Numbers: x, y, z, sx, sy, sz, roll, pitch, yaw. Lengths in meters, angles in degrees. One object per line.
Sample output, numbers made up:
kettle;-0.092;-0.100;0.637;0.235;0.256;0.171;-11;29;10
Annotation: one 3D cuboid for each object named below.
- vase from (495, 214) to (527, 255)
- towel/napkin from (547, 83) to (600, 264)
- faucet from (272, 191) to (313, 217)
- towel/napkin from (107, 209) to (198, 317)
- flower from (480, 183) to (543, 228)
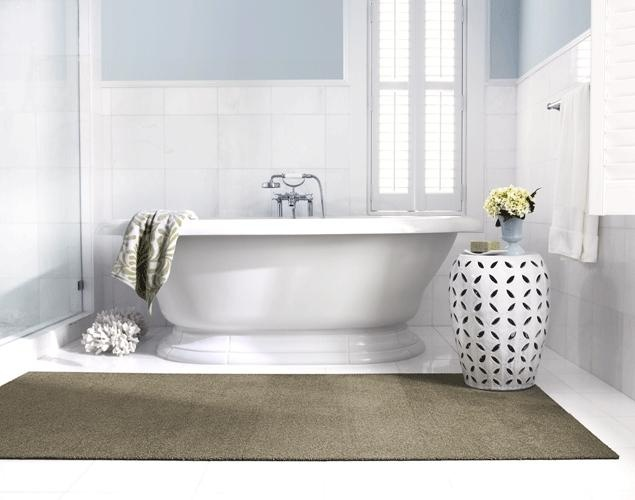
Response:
vase;0.910;-0.077;2.382;0.155;0.193;0.154;-1;1;-42
towel/napkin;1.211;-0.365;2.444;0.161;0.833;0.264;-4;9;-30
faucet;-0.155;-0.301;3.365;0.271;0.173;0.173;0;8;-4
towel/napkin;-0.796;0.084;2.613;0.444;0.469;0.229;-1;-12;20
flower;0.906;-0.205;2.411;0.193;0.164;0.235;-3;3;18
